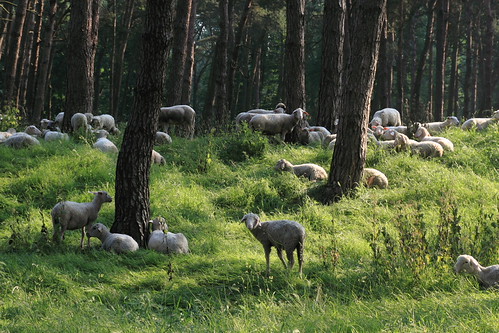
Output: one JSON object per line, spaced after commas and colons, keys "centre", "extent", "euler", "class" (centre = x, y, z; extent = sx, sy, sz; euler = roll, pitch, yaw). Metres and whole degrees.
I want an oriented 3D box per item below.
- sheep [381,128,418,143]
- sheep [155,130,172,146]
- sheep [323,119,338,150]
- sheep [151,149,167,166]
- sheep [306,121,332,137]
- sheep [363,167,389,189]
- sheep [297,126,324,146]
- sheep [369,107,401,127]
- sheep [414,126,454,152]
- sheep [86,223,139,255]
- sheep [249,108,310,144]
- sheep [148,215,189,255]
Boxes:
{"centre": [6.515, -1.483, 30.476], "extent": [1.463, 0.921, 0.673], "euler": [1, -7, -9], "class": "sheep"}
{"centre": [-4.036, -1.330, 32.774], "extent": [0.784, 0.639, 0.667], "euler": [4, 0, -9], "class": "sheep"}
{"centre": [3.607, -1.506, 31.306], "extent": [0.623, 1.225, 1.726], "euler": [4, 0, 5], "class": "sheep"}
{"centre": [-3.926, -0.387, 30.078], "extent": [0.394, 0.646, 1.036], "euler": [3, -1, 32], "class": "sheep"}
{"centre": [3.141, -1.679, 32.484], "extent": [1.211, 0.754, 0.505], "euler": [18, 15, 23], "class": "sheep"}
{"centre": [4.972, 0.490, 27.358], "extent": [0.563, 0.681, 1.024], "euler": [1, 4, -28], "class": "sheep"}
{"centre": [2.830, -1.431, 32.152], "extent": [0.487, 0.883, 1.515], "euler": [-2, -12, 27], "class": "sheep"}
{"centre": [6.745, -2.557, 35.577], "extent": [2.330, 1.405, 0.763], "euler": [-5, 4, -42], "class": "sheep"}
{"centre": [7.774, -1.118, 29.424], "extent": [0.703, 1.127, 1.626], "euler": [0, 14, -36], "class": "sheep"}
{"centre": [-4.821, 2.689, 24.547], "extent": [1.565, 0.894, 0.891], "euler": [12, -5, 23], "class": "sheep"}
{"centre": [1.211, -1.797, 32.706], "extent": [2.872, 2.395, 1.234], "euler": [0, 2, -11], "class": "sheep"}
{"centre": [-2.915, 2.437, 24.549], "extent": [1.577, 1.273, 0.798], "euler": [4, 0, 24], "class": "sheep"}
